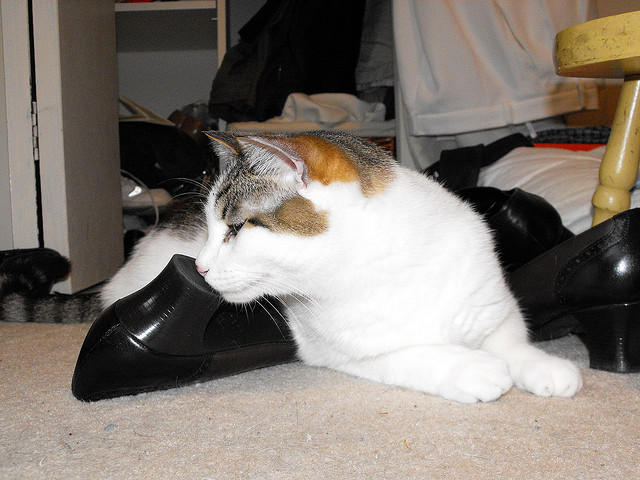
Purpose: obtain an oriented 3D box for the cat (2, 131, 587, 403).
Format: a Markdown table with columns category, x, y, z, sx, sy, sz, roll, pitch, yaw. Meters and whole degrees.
| category | x | y | z | sx | sy | sz | roll | pitch | yaw |
| --- | --- | --- | --- | --- | --- | --- | --- | --- | --- |
| cat | 0.124 | 0.019 | 1.220 | 0.774 | 0.510 | 0.326 | 1 | 20 | 18 |
